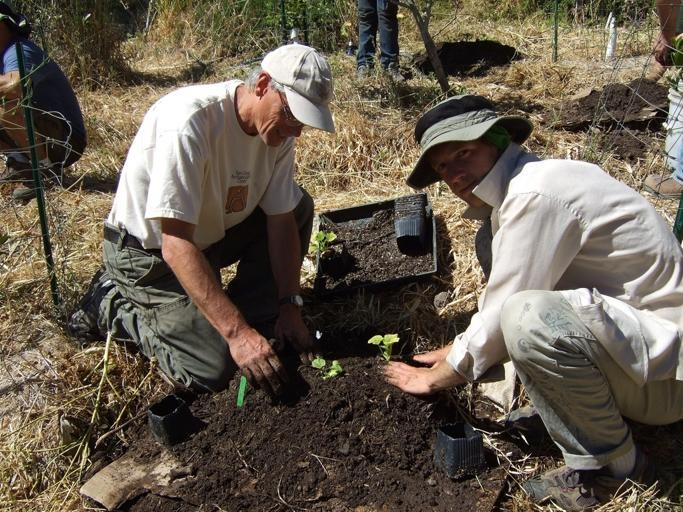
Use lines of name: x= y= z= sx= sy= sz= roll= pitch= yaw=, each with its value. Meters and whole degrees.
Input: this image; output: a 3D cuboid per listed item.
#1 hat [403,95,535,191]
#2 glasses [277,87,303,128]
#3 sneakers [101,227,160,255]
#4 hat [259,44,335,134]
hat: x=0.638 y=-0.652 z=3.038 sx=0.559 sy=0.320 sz=0.454 roll=-28 pitch=-13 yaw=1
glasses: x=-0.304 y=-0.780 z=3.093 sx=0.048 sy=0.172 sz=0.155 roll=-30 pitch=-8 yaw=25
sneakers: x=-1.277 y=-0.094 z=3.460 sx=0.225 sy=0.076 sz=0.209 roll=21 pitch=-1 yaw=-31
hat: x=-0.184 y=-0.903 z=3.136 sx=0.278 sy=0.516 sz=0.322 roll=-45 pitch=-15 yaw=32
